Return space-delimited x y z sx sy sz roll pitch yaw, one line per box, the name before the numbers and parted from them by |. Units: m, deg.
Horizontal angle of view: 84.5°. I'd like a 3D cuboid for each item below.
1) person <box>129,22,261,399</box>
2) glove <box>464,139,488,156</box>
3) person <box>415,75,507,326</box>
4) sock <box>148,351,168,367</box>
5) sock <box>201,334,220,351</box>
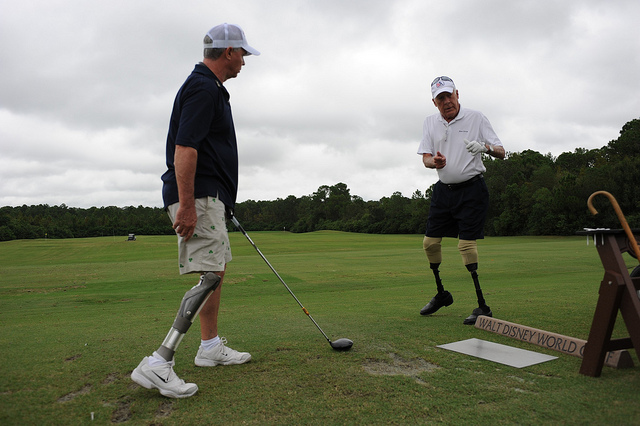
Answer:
person | -1.292 -0.260 3.821 1.109 3.913 1.134 -1 -1 -13
glove | 2.338 -1.021 5.314 0.220 0.147 0.279 -11 39 -22
person | 2.238 -0.281 5.826 1.130 3.272 0.711 -2 -1 27
sock | -1.562 1.383 3.349 0.095 0.037 0.099 26 19 32
sock | -1.224 1.442 3.936 0.167 0.124 0.138 1 -8 16
